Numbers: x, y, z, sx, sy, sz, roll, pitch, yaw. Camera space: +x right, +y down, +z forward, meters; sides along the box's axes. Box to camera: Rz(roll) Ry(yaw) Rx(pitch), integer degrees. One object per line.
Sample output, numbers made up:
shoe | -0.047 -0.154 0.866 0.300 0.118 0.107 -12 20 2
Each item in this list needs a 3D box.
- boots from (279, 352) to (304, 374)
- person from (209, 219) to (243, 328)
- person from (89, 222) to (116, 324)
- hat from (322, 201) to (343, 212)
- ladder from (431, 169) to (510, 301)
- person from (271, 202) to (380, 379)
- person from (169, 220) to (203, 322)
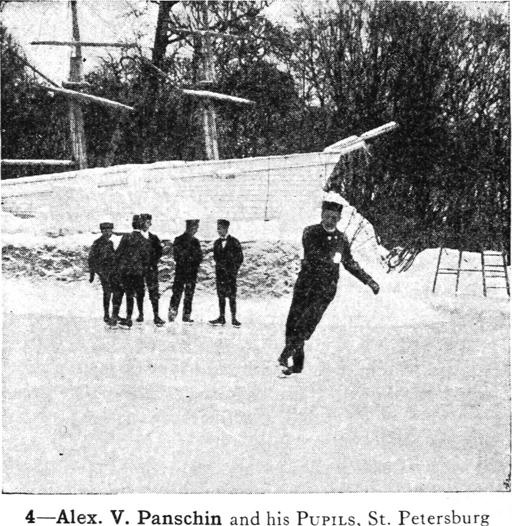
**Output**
boots | 0.294 0.798 6.557 0.070 0.189 0.136 27 0 -10
person | -0.250 0.076 6.778 0.260 0.869 0.275 1 6 -2
person | -1.302 0.075 6.769 0.221 0.816 0.277 0 6 -12
hat | 0.615 -0.462 6.543 0.102 0.061 0.099 8 3 -31
ladder | 1.855 -0.229 6.979 1.085 1.040 0.419 2 6 3
person | 0.544 0.200 6.553 0.697 1.399 0.346 1 6 2
person | -0.599 0.061 6.826 0.279 0.862 0.173 1 6 -2
